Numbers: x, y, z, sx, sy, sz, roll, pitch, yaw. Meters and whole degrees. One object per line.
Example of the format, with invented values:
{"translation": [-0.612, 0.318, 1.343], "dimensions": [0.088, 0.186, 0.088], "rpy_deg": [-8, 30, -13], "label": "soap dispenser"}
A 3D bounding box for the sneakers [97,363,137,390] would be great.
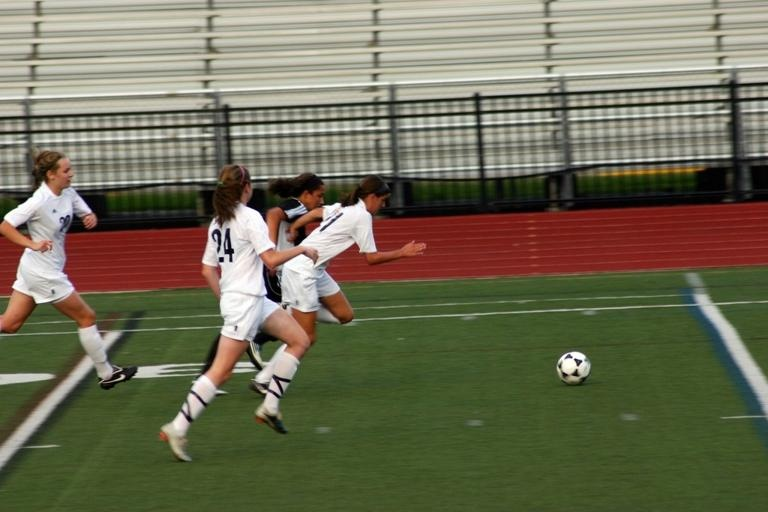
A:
{"translation": [-2.874, 1.323, 12.504], "dimensions": [0.493, 0.179, 0.195], "rpy_deg": [-18, 41, -1], "label": "sneakers"}

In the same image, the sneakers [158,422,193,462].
{"translation": [-1.963, 1.779, 10.930], "dimensions": [0.287, 0.391, 0.229], "rpy_deg": [-11, 15, -35], "label": "sneakers"}

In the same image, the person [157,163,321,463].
{"translation": [-1.466, 0.505, 11.221], "dimensions": [1.623, 2.768, 0.954], "rpy_deg": [-7, 13, -16], "label": "person"}
